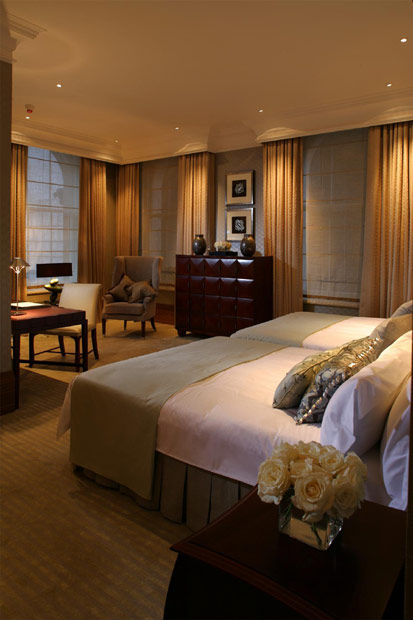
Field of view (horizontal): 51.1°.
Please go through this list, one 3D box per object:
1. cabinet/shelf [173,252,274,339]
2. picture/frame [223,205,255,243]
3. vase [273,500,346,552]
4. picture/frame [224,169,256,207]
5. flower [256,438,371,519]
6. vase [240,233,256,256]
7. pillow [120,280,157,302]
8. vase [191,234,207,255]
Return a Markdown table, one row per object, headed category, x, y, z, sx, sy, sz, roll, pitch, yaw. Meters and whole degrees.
| category | x | y | z | sx | sy | sz | roll | pitch | yaw |
| --- | --- | --- | --- | --- | --- | --- | --- | --- | --- |
| cabinet/shelf | 0.254 | -0.199 | 5.371 | 0.959 | 0.994 | 0.379 | 6 | 10 | 36 |
| picture/frame | 0.469 | -1.198 | 5.950 | 0.563 | 0.709 | 0.070 | 2 | 1 | 37 |
| vase | 0.210 | 0.423 | 0.912 | 0.093 | 0.100 | 0.094 | 3 | -4 | 35 |
| picture/frame | 0.475 | -1.697 | 5.939 | 0.502 | 0.537 | 0.056 | 3 | 2 | 39 |
| flower | 0.226 | 0.303 | 0.896 | 0.166 | 0.119 | 0.173 | 14 | 13 | 31 |
| vase | 0.514 | -0.831 | 5.462 | 0.161 | 0.270 | 0.218 | -1 | 7 | 3 |
| pillow | -0.934 | -0.258 | 5.907 | 0.318 | 0.258 | 0.522 | -8 | 10 | -40 |
| vase | -0.099 | -0.882 | 5.810 | 0.229 | 0.311 | 0.244 | 0 | -2 | 1 |
